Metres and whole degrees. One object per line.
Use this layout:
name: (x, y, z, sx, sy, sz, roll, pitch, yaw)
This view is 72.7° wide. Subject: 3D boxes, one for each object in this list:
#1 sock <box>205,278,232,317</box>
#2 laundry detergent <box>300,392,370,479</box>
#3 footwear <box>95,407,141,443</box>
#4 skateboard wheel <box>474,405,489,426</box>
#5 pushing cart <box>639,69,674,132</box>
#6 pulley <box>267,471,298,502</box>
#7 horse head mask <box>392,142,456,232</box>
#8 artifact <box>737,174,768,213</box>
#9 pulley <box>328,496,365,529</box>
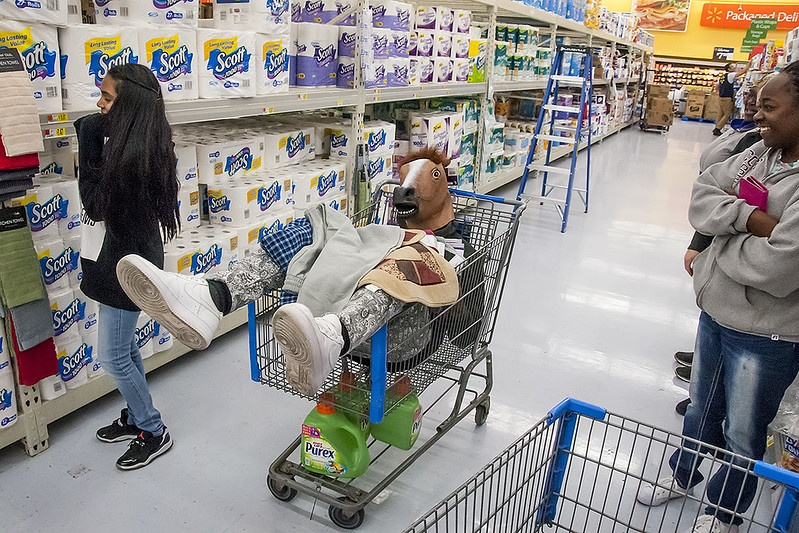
sock: (-0.751, 0.125, 2.265, 0.082, 0.192, 0.064, -15, 20, -13)
laundry detergent: (-0.295, 0.829, 2.666, 0.367, 0.380, 0.221, 13, 25, 20)
footwear: (-1.506, 0.882, 3.019, 0.310, 0.191, 0.141, 3, 11, -18)
skateboard wheel: (0.490, 0.887, 3.221, 0.054, 0.119, 0.135, 0, -18, 21)
pushing cart: (7.585, -4.338, 14.729, 1.070, 1.899, 1.907, 7, 21, 23)
pulley: (-0.581, 1.094, 2.692, 0.169, 0.170, 0.055, 0, 5, 42)
horse head mask: (0.130, -0.423, 2.956, 0.280, 0.456, 0.470, 8, 21, 34)
artifact: (1.504, -0.311, 2.294, 0.048, 0.144, 0.144, -27, 43, -18)
pulley: (-0.252, 1.190, 2.597, 0.171, 0.142, 0.080, -1, 24, -6)
